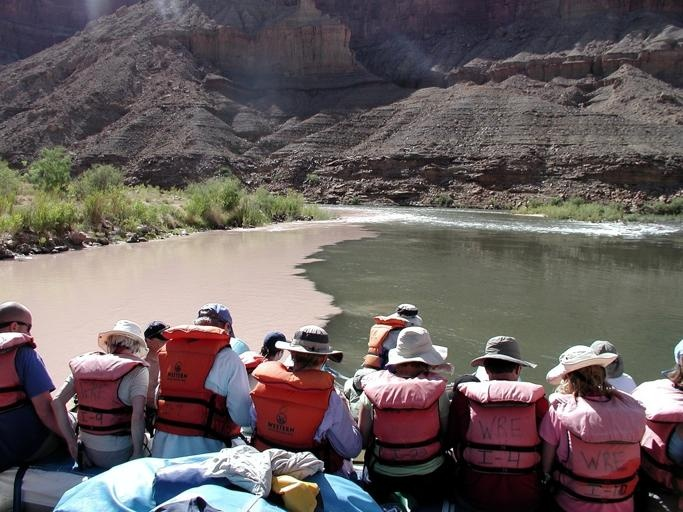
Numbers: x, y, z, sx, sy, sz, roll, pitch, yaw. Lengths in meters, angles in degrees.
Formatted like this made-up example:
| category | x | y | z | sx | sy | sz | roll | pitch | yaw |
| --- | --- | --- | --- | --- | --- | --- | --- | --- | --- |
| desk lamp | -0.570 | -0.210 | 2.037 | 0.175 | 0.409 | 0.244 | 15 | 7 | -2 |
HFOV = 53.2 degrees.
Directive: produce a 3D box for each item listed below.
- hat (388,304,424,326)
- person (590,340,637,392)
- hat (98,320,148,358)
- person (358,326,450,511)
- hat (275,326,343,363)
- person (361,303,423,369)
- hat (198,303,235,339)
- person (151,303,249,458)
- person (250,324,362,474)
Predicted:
| category | x | y | z | sx | sy | sz | roll | pitch | yaw |
| --- | --- | --- | --- | --- | --- | --- | --- | --- | --- |
| hat | 0.838 | 0.788 | 8.939 | 0.501 | 0.205 | 0.603 | 5 | 1 | 5 |
| person | 2.690 | 1.109 | 6.774 | 0.515 | 0.290 | 0.759 | -5 | 4 | 24 |
| hat | -2.013 | 0.743 | 6.499 | 0.384 | 0.160 | 0.412 | 5 | -30 | 1 |
| person | 0.590 | 1.474 | 6.299 | 0.863 | 1.577 | 0.501 | 2 | 11 | 8 |
| hat | -0.264 | 0.787 | 6.332 | 0.436 | 0.207 | 0.480 | 12 | -4 | 3 |
| person | 0.583 | 0.866 | 8.363 | 0.735 | 0.989 | 0.834 | 0 | 4 | -18 |
| hat | -1.338 | 0.670 | 6.976 | 0.352 | 0.408 | 0.460 | 2 | -4 | 18 |
| person | -1.296 | 1.247 | 6.308 | 0.930 | 1.177 | 0.478 | -2 | 11 | -11 |
| person | -0.319 | 1.373 | 6.202 | 0.979 | 1.448 | 0.365 | -2 | 11 | -9 |
